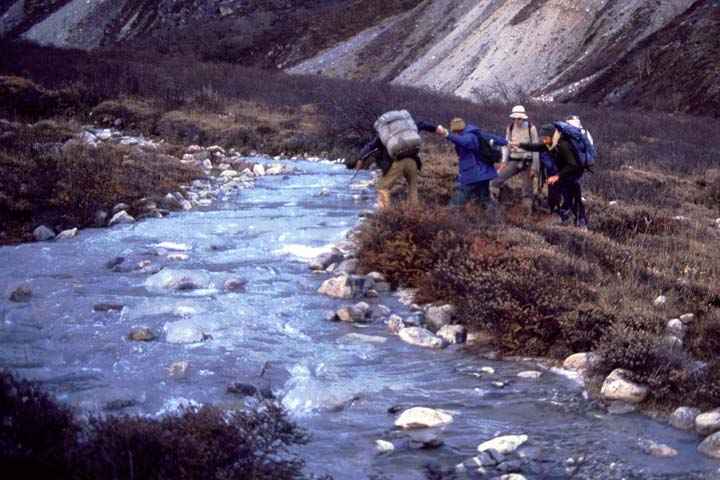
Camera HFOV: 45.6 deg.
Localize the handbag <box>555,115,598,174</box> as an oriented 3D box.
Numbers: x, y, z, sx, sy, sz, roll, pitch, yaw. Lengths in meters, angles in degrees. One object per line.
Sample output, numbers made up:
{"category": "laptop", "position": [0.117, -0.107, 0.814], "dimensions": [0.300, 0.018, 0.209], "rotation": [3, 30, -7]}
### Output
{"category": "handbag", "position": [6.101, -2.923, 24.719], "dimensions": [1.375, 1.605, 1.091], "rotation": [-13, 19, 9]}
